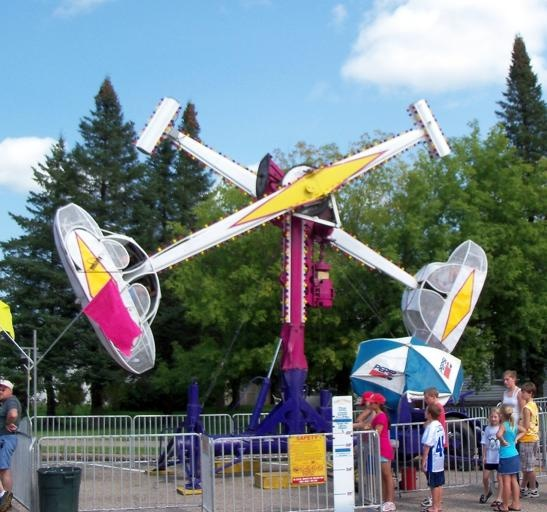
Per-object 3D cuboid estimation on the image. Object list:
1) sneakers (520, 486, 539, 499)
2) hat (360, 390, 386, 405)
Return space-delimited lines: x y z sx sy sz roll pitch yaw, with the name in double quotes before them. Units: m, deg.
"sneakers" 5.396 5.063 25.407 0.427 0.147 0.191 0 -2 20
"hat" 2.020 2.994 25.019 0.473 0.227 0.286 5 -10 0
